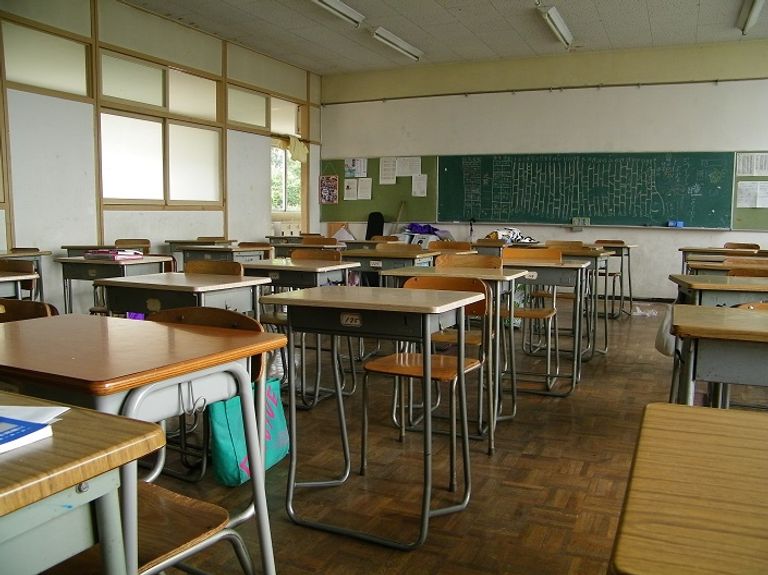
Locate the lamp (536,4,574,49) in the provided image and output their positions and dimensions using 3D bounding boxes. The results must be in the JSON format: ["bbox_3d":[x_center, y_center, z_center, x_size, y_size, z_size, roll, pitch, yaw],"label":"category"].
[{"bbox_3d":[2.070,-3.065,6.641,0.161,0.086,1.103,-27,-14,28],"label":"lamp"}]

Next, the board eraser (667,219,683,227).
[{"bbox_3d":[3.964,-0.872,7.602,0.121,0.098,0.027,4,-4,19],"label":"board eraser"}]

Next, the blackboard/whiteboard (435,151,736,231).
[{"bbox_3d":[3.081,-1.394,7.959,3.258,1.170,0.239,0,9,20],"label":"blackboard/whiteboard"}]

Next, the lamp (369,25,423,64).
[{"bbox_3d":[0.172,-3.230,7.564,0.175,0.191,1.036,-17,-4,41],"label":"lamp"}]
